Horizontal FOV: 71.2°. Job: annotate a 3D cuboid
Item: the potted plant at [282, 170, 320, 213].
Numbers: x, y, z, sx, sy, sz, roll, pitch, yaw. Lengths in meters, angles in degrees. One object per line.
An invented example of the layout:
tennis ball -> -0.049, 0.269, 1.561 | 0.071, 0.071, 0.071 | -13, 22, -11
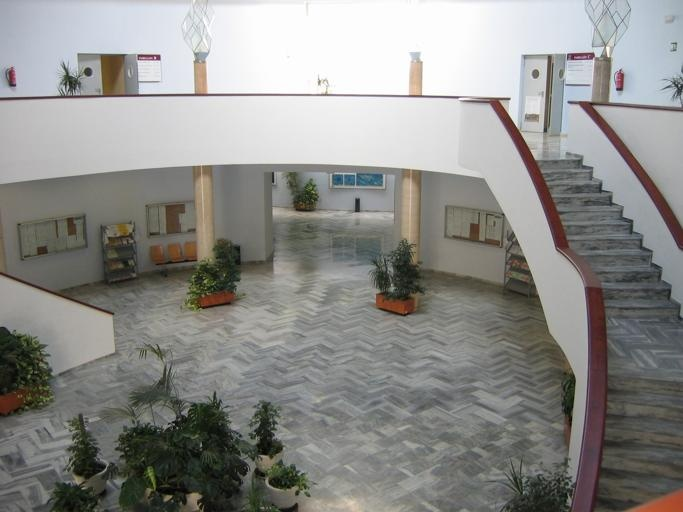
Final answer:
potted plant -> -2.182, -3.591, 26.660 | 1.778, 2.301, 1.321 | 0, -8, -18

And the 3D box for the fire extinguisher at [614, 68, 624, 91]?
fire extinguisher -> 6.594, -4.195, 11.410 | 0.219, 0.500, 0.135 | 11, 19, 36

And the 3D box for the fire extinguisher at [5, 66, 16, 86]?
fire extinguisher -> -8.776, -4.789, 12.728 | 0.211, 0.534, 0.239 | -7, 16, -24

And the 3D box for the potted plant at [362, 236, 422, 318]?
potted plant -> 1.593, 0.561, 13.424 | 1.299, 2.007, 0.733 | 6, 16, 24

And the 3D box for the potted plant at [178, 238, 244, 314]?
potted plant -> -3.768, 0.541, 13.940 | 1.536, 1.728, 0.811 | -8, 17, -25
